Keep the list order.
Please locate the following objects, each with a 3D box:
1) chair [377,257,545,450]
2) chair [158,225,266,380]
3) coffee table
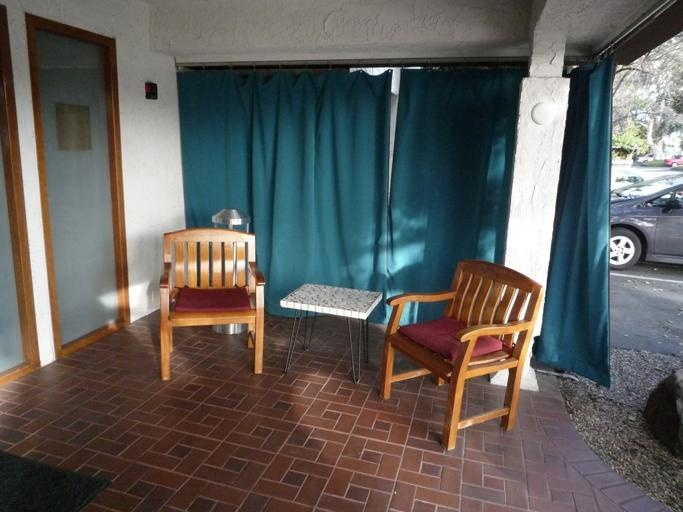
[{"bbox_3d":[0.887,0.715,3.640,0.835,1.231,0.889,-4,15,-25],"label":"chair"},{"bbox_3d":[-1.195,0.395,4.183,0.921,1.225,0.767,1,12,-13],"label":"chair"},{"bbox_3d":[-0.111,0.723,4.395,0.701,0.776,0.940,8,9,9],"label":"coffee table"}]
